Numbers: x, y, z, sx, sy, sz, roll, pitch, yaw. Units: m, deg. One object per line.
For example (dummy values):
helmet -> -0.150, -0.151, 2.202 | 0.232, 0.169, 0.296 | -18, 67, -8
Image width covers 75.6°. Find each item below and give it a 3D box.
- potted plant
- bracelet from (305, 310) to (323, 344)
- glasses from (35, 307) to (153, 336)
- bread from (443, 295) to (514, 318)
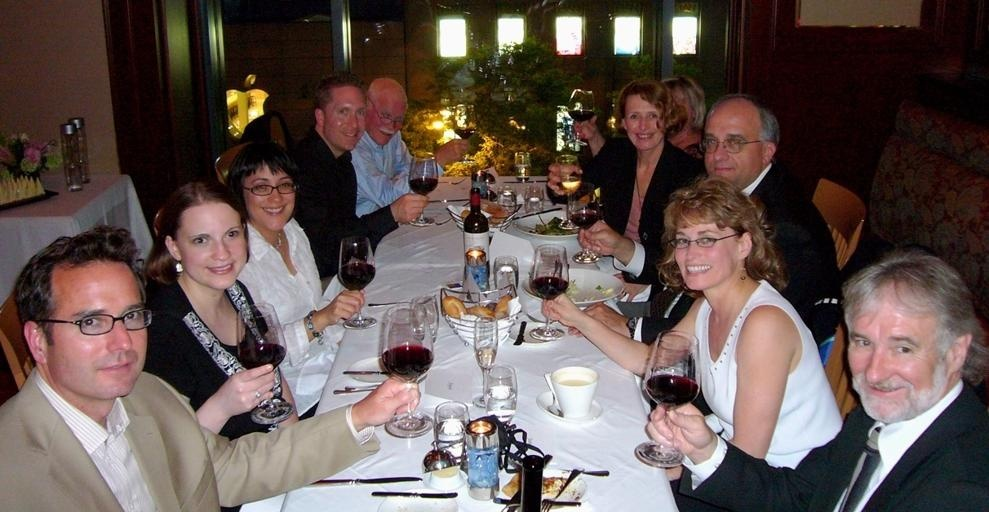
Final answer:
potted plant -> 0.145, -1.566, 7.207 | 1.742, 1.297, 1.393 | 2, 4, 7
bracelet -> -1.027, 0.396, 3.583 | 0.067, 0.150, 0.123 | -11, 21, -24
glasses -> -1.633, 0.277, 2.586 | 0.413, 0.093, 0.075 | -6, 15, -16
bread -> -0.085, 0.273, 3.306 | 0.199, 0.074, 0.169 | 9, -16, -13
